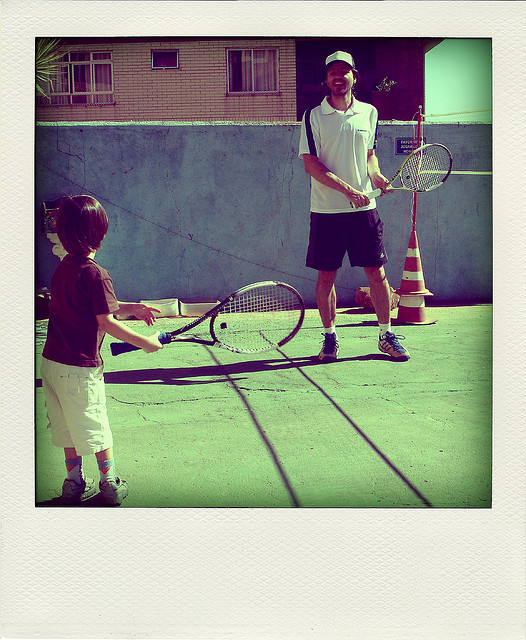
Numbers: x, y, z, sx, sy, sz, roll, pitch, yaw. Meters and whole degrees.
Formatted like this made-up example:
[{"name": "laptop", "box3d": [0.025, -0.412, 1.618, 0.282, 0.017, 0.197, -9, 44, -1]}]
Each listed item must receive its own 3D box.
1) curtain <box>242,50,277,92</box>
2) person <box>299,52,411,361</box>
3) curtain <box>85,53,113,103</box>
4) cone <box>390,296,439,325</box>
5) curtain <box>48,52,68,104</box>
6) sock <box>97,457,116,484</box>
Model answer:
[{"name": "curtain", "box3d": [-0.059, -3.916, 11.364, 0.547, 0.647, 0.166, 1, 7, -4]}, {"name": "person", "box3d": [0.561, -0.726, 4.657, 0.673, 1.921, 0.510, 2, 7, 10]}, {"name": "curtain", "box3d": [-2.660, -3.871, 11.799, 0.392, 0.841, 0.032, -1, -22, -8]}, {"name": "cone", "box3d": [1.230, -0.091, 5.752, 0.218, 0.296, 0.248, -3, 13, -18]}, {"name": "curtain", "box3d": [-3.381, -4.000, 11.884, 0.345, 1.061, 0.039, -3, -19, -8]}, {"name": "sock", "box3d": [-0.565, 0.546, 2.625, 0.080, 0.114, 0.056, -4, 6, -7]}]
